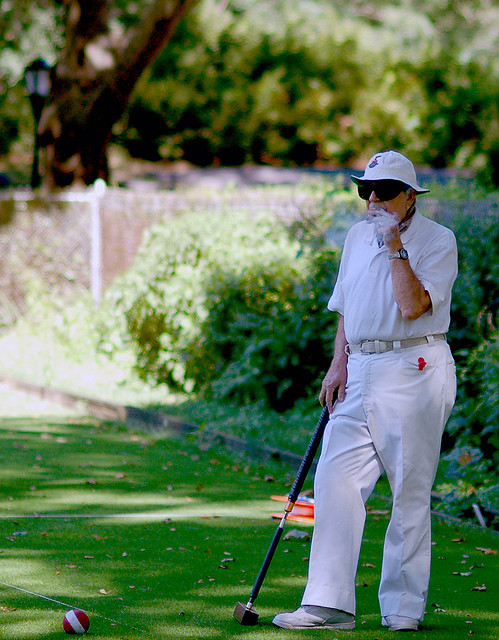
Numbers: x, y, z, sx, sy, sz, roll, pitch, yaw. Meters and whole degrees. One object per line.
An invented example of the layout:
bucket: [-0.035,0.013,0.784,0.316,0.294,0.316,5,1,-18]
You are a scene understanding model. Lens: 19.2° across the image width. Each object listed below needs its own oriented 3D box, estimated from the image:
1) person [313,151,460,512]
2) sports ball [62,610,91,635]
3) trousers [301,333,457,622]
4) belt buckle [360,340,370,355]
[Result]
person: [0.682,0.037,7.327,0.679,1.754,0.573,1,7,4]
sports ball: [-0.797,1.393,6.835,0.127,0.098,0.116,-1,7,-13]
trousers: [0.631,0.749,7.168,0.692,1.348,0.442,1,7,7]
belt buckle: [0.571,0.128,7.263,0.054,0.062,0.016,0,-1,16]
